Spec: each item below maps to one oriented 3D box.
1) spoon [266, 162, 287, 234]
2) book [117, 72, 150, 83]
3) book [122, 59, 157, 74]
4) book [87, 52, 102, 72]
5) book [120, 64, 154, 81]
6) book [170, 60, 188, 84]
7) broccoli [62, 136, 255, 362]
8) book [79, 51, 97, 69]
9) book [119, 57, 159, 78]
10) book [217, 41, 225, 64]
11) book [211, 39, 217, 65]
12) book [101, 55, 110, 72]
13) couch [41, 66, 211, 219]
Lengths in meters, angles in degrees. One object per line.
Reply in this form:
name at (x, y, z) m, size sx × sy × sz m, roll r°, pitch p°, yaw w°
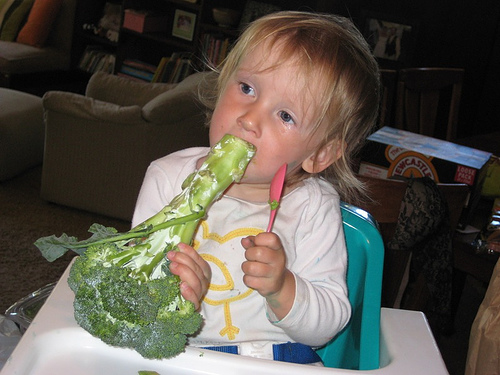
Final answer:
spoon at (0.054, 0.024, 0.769) m, size 0.022 × 0.166 × 0.019 m, roll 19°, pitch 8°, yaw 8°
book at (-1.366, -1.253, 4.216) m, size 0.211 × 0.053 × 0.219 m, roll 16°, pitch 4°, yaw -2°
book at (-1.248, -1.374, 4.192) m, size 0.210 × 0.055 × 0.220 m, roll 12°, pitch 12°, yaw -1°
book at (-1.998, -1.602, 4.762) m, size 0.042 × 0.191 × 0.185 m, roll 17°, pitch 11°, yaw -10°
book at (-1.279, -1.305, 4.157) m, size 0.230 × 0.060 × 0.245 m, roll 18°, pitch 13°, yaw -4°
book at (-0.760, -1.253, 4.039) m, size 0.065 × 0.290 × 0.296 m, roll 19°, pitch 48°, yaw -14°
broccoli at (-0.107, 0.065, 0.641) m, size 0.216 × 0.364 × 0.170 m, roll 35°, pitch -12°, yaw 2°
book at (-2.068, -1.630, 4.771) m, size 0.030 × 0.285 × 0.045 m, roll 27°, pitch 8°, yaw -36°
book at (-1.273, -1.362, 4.220) m, size 0.284 × 0.084 × 0.318 m, roll 11°, pitch 30°, yaw 1°
book at (-0.288, -1.358, 3.724) m, size 0.044 × 0.221 × 0.089 m, roll 10°, pitch 17°, yaw -5°
book at (-0.361, -1.386, 3.788) m, size 0.033 × 0.243 × 0.101 m, roll 9°, pitch 17°, yaw -9°
book at (-1.812, -1.548, 4.684) m, size 0.054 × 0.245 × 0.034 m, roll 21°, pitch 6°, yaw -22°
couch at (-0.776, -0.388, 2.861) m, size 1.041 × 1.091 × 1.091 m, roll 18°, pitch 26°, yaw 4°
